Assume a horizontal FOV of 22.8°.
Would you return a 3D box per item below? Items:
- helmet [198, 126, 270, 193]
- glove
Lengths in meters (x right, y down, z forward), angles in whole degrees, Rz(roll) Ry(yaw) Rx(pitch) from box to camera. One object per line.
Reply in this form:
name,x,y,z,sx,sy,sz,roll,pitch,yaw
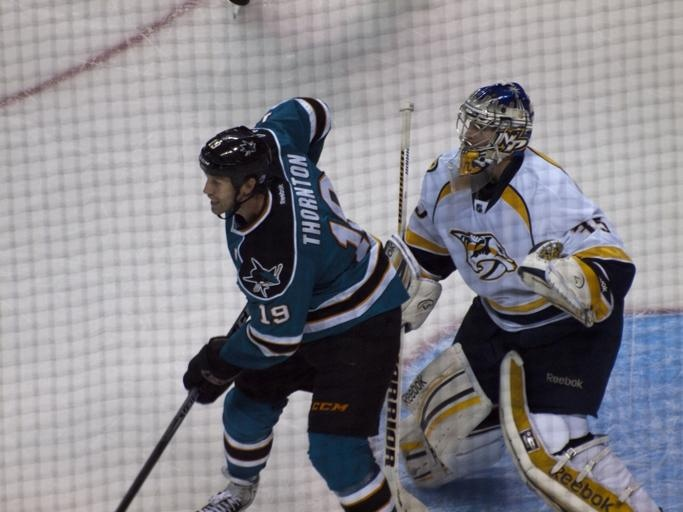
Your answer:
helmet,-0.502,-0.465,8.123,0.321,0.251,0.254,-3,27,-19
glove,-0.664,0.596,8.464,0.347,0.136,0.251,-39,16,31
